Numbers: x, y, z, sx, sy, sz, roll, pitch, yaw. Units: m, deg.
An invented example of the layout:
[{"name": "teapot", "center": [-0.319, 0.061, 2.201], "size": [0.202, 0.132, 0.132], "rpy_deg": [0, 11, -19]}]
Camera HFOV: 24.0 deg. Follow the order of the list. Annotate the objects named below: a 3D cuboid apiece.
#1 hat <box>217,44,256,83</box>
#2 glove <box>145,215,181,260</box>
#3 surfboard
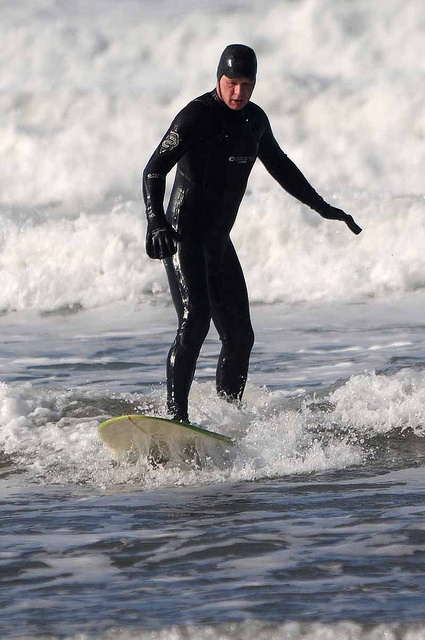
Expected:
[{"name": "hat", "center": [0.093, -1.092, 4.278], "size": [0.166, 0.174, 0.213], "rpy_deg": [-2, 2, 1]}, {"name": "glove", "center": [-0.215, -0.325, 4.054], "size": [0.121, 0.153, 0.145], "rpy_deg": [-2, 2, 8]}, {"name": "surfboard", "center": [-0.238, 0.474, 4.061], "size": [0.237, 0.072, 0.439], "rpy_deg": [-9, -23, 37]}]
